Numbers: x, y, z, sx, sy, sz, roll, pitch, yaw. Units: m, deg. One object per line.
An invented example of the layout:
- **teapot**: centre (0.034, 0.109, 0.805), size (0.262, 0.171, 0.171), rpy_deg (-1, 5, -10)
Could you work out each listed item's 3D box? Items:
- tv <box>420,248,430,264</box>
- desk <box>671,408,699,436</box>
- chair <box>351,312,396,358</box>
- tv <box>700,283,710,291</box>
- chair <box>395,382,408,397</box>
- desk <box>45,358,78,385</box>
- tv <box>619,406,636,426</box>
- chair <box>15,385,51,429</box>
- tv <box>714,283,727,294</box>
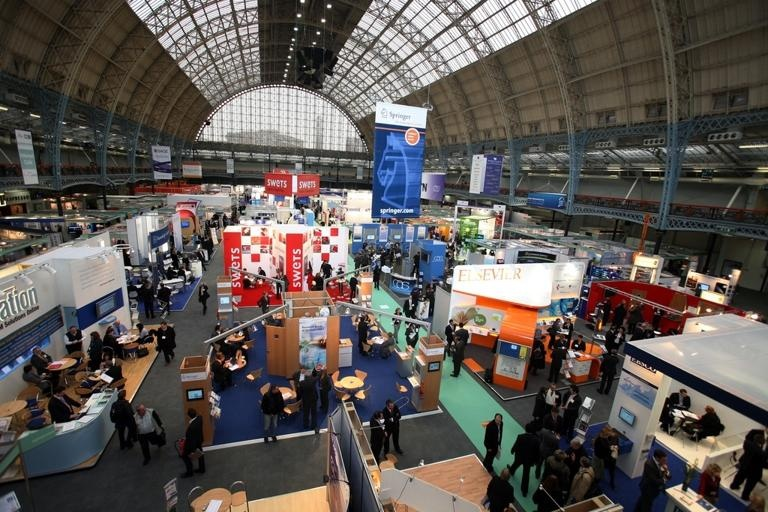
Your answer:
- **tv**: centre (2.111, -0.011, 23.989), size (0.076, 0.532, 0.748), rpy_deg (-2, 8, -24)
- **desk**: centre (10.145, 5.608, 15.740), size (0.711, 0.915, 0.352), rpy_deg (11, 9, 30)
- **chair**: centre (-0.455, 3.295, 18.963), size (1.372, 0.653, 1.743), rpy_deg (-18, 30, -42)
- **tv**: centre (16.498, 1.564, 24.032), size (0.252, 0.453, 0.461), rpy_deg (-7, 12, -42)
- **chair**: centre (0.660, 4.792, 16.928), size (0.428, 0.478, 0.439), rpy_deg (-7, 53, -17)
- **desk**: centre (-11.089, 4.013, 16.008), size (0.891, 0.577, 0.908), rpy_deg (28, 29, 28)
- **tv**: centre (7.824, 5.127, 14.954), size (0.075, 0.419, 0.560), rpy_deg (4, 23, -43)
- **chair**: centre (-11.352, 4.901, 15.018), size (0.838, 1.332, 0.961), rpy_deg (-4, 21, -42)
- **tv**: centre (16.936, 1.620, 23.442), size (0.240, 0.427, 0.443), rpy_deg (-5, 20, -25)
